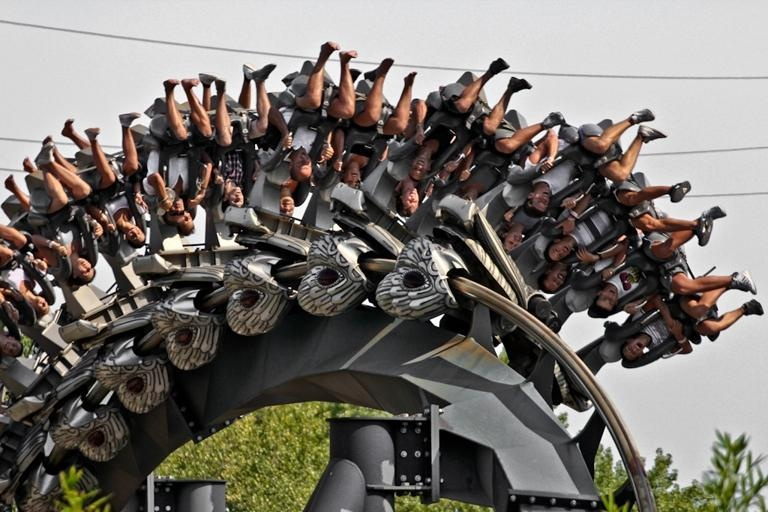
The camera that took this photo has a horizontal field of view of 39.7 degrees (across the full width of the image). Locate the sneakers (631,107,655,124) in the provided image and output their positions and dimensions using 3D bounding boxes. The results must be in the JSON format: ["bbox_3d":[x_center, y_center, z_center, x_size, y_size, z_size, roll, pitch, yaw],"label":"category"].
[{"bbox_3d":[4.232,-2.264,17.348,0.339,0.145,0.241,-20,-44,30],"label":"sneakers"}]

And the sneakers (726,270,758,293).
[{"bbox_3d":[5.375,0.372,15.998,0.475,0.213,0.164,36,-56,8],"label":"sneakers"}]
